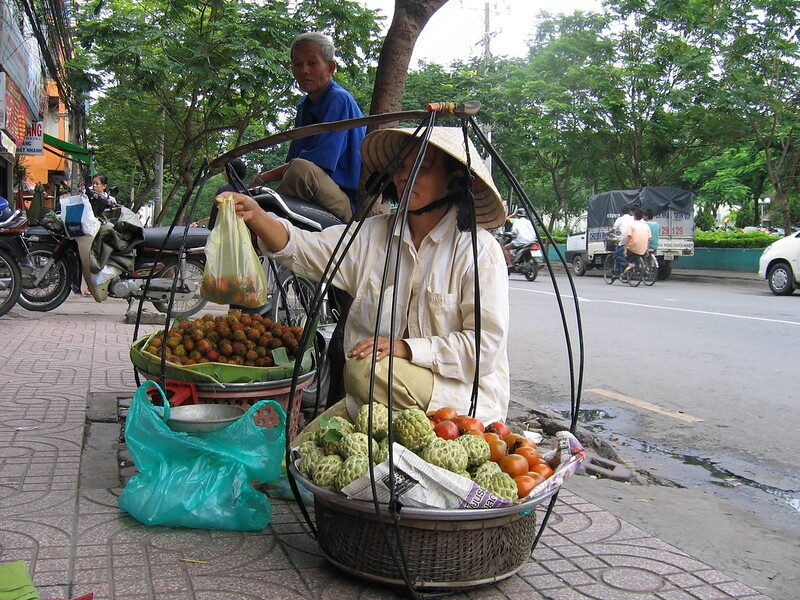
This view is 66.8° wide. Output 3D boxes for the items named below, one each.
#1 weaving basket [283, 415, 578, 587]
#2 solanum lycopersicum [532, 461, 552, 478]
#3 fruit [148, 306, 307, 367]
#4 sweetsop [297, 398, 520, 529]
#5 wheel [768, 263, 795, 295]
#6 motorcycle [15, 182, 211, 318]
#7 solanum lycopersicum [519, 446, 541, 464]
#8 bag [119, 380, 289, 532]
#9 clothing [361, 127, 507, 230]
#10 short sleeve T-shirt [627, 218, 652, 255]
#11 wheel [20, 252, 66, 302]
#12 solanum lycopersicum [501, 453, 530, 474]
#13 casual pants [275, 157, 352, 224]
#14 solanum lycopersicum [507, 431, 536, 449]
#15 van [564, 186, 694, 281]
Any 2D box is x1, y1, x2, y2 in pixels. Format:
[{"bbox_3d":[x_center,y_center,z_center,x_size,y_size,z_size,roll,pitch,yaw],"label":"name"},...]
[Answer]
[{"bbox_3d":[0.107,0.757,2.201,0.725,0.286,0.665,1,-1,-5],"label":"weaving basket"},{"bbox_3d":[0.552,0.657,2.355,0.053,0.055,0.065,27,45,12],"label":"solanum lycopersicum"},{"bbox_3d":[-0.945,0.222,3.280,0.444,0.202,0.473,1,-5,11],"label":"fruit"},{"bbox_3d":[0.100,0.549,2.134,0.471,0.163,0.402,18,-3,7],"label":"sweetsop"},{"bbox_3d":[8.487,-0.485,13.404,0.255,0.777,0.697,0,0,-21],"label":"wheel"},{"bbox_3d":[-3.544,-0.579,7.669,2.460,1.563,0.955,5,10,-45],"label":"motorcycle"},{"bbox_3d":[0.512,0.609,2.388,0.061,0.076,0.062,14,36,-24],"label":"solanum lycopersicum"},{"bbox_3d":[-0.865,0.692,2.671,0.663,0.563,0.333,7,-5,-12],"label":"bag"},{"bbox_3d":[0.235,-0.602,2.840,0.552,0.230,0.566,2,-31,31],"label":"clothing"},{"bbox_3d":[6.216,-1.606,15.759,0.442,0.865,0.736,9,10,32],"label":"short sleeve T-shirt"},{"bbox_3d":[-4.526,-0.317,7.641,0.548,0.643,0.146,4,4,-5],"label":"wheel"},{"bbox_3d":[0.440,0.618,2.313,0.071,0.072,0.071,-3,-16,45],"label":"solanum lycopersicum"},{"bbox_3d":[-0.614,-0.808,4.641,0.493,0.235,0.395,-1,-34,43],"label":"casual pants"},{"bbox_3d":[0.496,0.582,2.515,0.075,0.076,0.076,6,-38,5],"label":"solanum lycopersicum"},{"bbox_3d":[7.812,-2.296,21.301,2.108,2.811,4.848,-3,5,-19],"label":"van"}]
